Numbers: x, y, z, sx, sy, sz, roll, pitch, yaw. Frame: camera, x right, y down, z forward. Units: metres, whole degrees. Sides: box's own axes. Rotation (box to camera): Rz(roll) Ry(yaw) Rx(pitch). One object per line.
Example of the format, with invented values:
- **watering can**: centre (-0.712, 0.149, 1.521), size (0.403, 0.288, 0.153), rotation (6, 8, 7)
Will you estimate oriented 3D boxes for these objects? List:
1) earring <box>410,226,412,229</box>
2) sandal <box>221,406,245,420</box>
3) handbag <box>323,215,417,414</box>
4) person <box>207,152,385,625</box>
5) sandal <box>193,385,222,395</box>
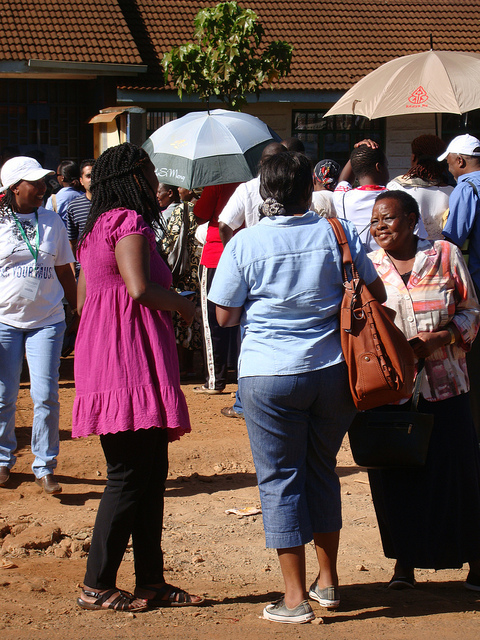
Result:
- **earring**: centre (0.753, -0.406, 3.038), size (0.013, 0.011, 0.003), rotation (-5, -18, -9)
- **sandal**: centre (-0.094, 0.869, 6.534), size (0.150, 0.090, 0.233), rotation (5, -6, -37)
- **handbag**: centre (0.496, -0.013, 2.620), size (0.322, 0.740, 0.317), rotation (-1, -5, 24)
- **person**: centre (0.208, 0.268, 2.607), size (0.665, 1.764, 0.400), rotation (3, -5, -15)
- **sandal**: centre (-0.355, 0.753, 7.356), size (0.300, 0.083, 0.102), rotation (6, -7, 7)
